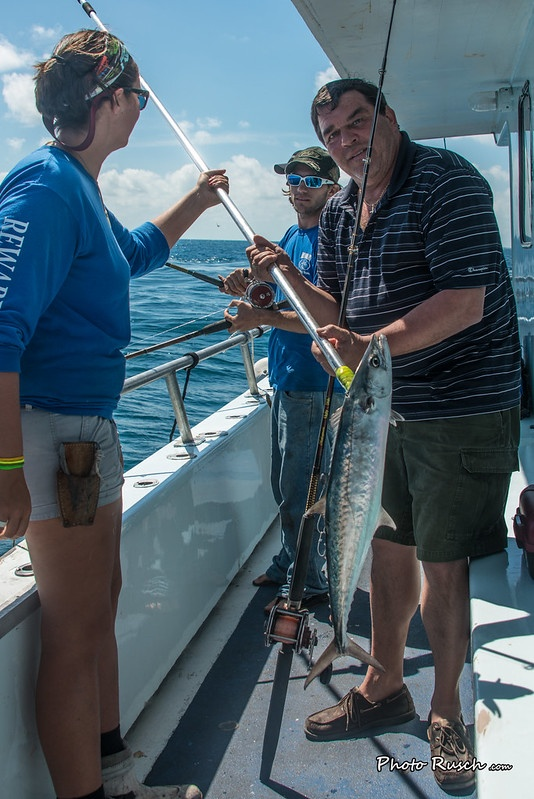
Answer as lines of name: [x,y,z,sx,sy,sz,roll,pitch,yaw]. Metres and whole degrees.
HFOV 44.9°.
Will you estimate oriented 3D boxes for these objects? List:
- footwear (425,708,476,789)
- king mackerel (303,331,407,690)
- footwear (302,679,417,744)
footwear: [0.459,0.889,1.666,0.103,0.094,0.266,-7,-1,8]
king mackerel: [0.151,0.226,1.174,0.185,0.691,0.216,-1,12,10]
footwear: [0.259,0.896,1.875,0.353,0.127,0.121,-6,-11,-1]
